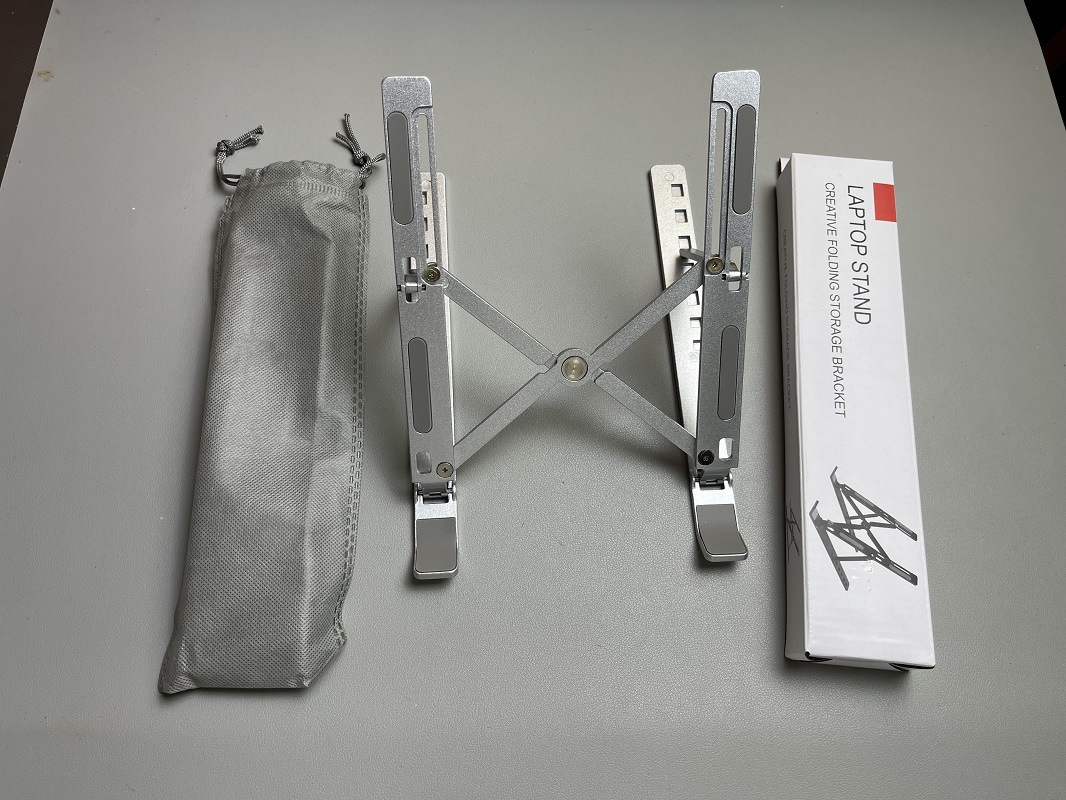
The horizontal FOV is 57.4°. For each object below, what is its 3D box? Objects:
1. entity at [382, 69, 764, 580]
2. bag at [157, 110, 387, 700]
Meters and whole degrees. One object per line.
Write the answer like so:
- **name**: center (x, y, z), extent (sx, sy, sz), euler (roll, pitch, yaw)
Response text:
- **entity**: center (0.098, -0.104, 2.235), extent (0.711, 1.226, 1.031), euler (-1, -27, 0)
- **bag**: center (-0.613, 0.022, 2.272), extent (0.429, 1.119, 0.539), euler (-2, 11, 0)
